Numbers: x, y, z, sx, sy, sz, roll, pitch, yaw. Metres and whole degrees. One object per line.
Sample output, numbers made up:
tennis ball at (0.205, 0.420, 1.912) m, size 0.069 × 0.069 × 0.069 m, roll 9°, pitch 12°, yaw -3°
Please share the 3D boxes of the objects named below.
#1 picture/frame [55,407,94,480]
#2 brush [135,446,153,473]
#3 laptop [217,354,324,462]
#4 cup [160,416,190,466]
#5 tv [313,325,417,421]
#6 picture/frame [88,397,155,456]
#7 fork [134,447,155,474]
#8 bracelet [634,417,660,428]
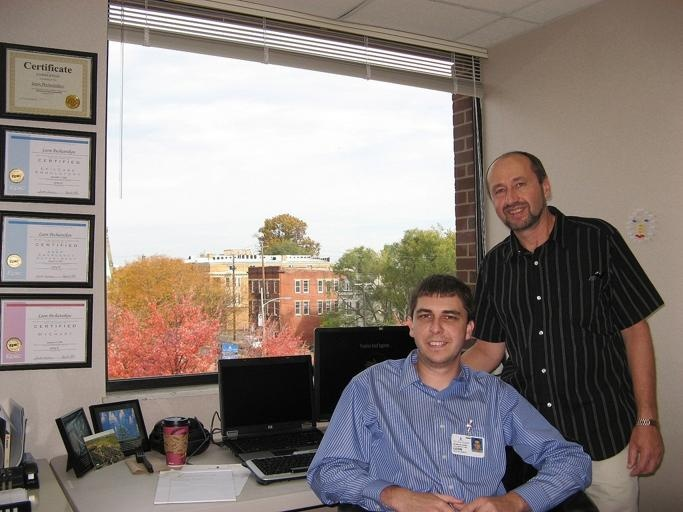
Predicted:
picture/frame at (-1.155, 0.831, 2.393) m, size 0.083 × 0.219 × 0.224 m, roll -16°, pitch 13°, yaw -5°
brush at (-0.861, 0.885, 2.403) m, size 0.043 × 0.050 × 0.232 m, roll 0°, pitch 0°, yaw -19°
laptop at (-0.281, 0.701, 2.575) m, size 0.507 × 0.408 × 0.442 m, roll 1°, pitch -2°, yaw -31°
cup at (-0.719, 0.823, 2.429) m, size 0.135 × 0.211 × 0.142 m, roll -2°, pitch -6°, yaw 0°
tv at (0.078, 0.528, 2.443) m, size 0.531 × 0.426 × 0.052 m, roll 0°, pitch -3°, yaw -13°
picture/frame at (-1.029, 0.803, 2.550) m, size 0.023 × 0.224 × 0.202 m, roll -25°, pitch -6°, yaw 30°
fork at (-0.864, 0.887, 2.405) m, size 0.044 × 0.045 × 0.230 m, roll 0°, pitch 0°, yaw -19°
bracelet at (1.176, 0.648, 2.126) m, size 0.077 × 0.033 × 0.067 m, roll -3°, pitch 0°, yaw 26°
